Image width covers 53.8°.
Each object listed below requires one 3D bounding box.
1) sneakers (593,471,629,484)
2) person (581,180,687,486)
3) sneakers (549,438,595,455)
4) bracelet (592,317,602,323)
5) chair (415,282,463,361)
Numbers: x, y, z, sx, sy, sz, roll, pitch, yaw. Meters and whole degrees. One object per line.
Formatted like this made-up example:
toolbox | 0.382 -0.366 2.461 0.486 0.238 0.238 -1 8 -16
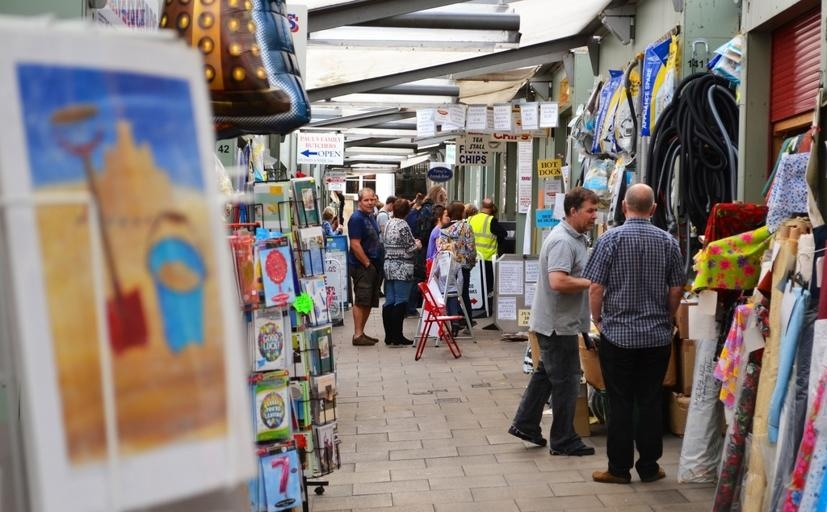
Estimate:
sneakers | 1.388 1.486 5.687 0.196 0.074 0.097 4 -2 12
person | 1.518 0.517 5.589 0.671 1.997 0.301 0 4 10
sneakers | 1.236 1.418 6.281 0.255 0.088 0.139 -2 0 3
bracelet | 1.272 0.415 5.644 0.055 0.016 0.050 5 -33 -12
chair | 0.350 0.740 10.568 0.651 0.902 0.580 -1 13 -13
